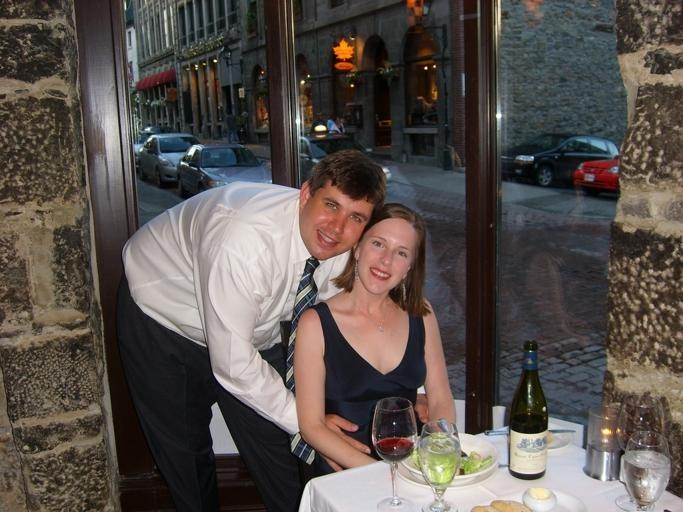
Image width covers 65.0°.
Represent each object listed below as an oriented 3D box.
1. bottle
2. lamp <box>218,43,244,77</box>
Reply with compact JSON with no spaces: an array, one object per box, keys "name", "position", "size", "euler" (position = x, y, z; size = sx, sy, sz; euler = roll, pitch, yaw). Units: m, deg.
[{"name":"bottle","position":[0.728,0.566,2.072],"size":[0.175,0.194,0.620],"euler":[-12,30,20]},{"name":"lamp","position":[-0.607,-1.069,2.923],"size":[0.137,0.207,0.084],"euler":[-6,16,-31]}]
